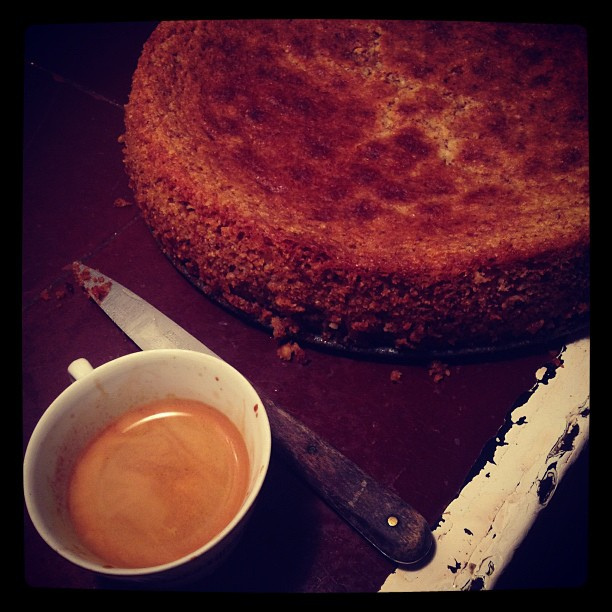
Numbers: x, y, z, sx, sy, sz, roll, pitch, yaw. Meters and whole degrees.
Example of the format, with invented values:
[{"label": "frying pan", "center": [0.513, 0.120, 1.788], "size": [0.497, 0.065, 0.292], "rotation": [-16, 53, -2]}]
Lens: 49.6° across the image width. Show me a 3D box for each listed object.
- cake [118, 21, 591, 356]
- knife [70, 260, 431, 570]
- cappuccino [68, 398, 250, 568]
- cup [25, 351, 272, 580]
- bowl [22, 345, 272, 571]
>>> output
[{"label": "cake", "center": [0.051, -0.140, 0.688], "size": [0.497, 0.130, 0.334], "rotation": [6, 65, -1]}, {"label": "knife", "center": [-0.038, 0.112, 0.626], "size": [0.387, 0.034, 0.053], "rotation": [44, 92, 9]}, {"label": "cappuccino", "center": [-0.130, 0.151, 0.586], "size": [0.160, 0.027, 0.139], "rotation": [-19, 68, -12]}, {"label": "cup", "center": [-0.118, 0.126, 0.578], "size": [0.181, 0.102, 0.221], "rotation": [15, 25, 23]}, {"label": "bowl", "center": [-0.085, 0.132, 0.698], "size": [0.219, 0.267, 0.127], "rotation": [1, 98, 17]}]
